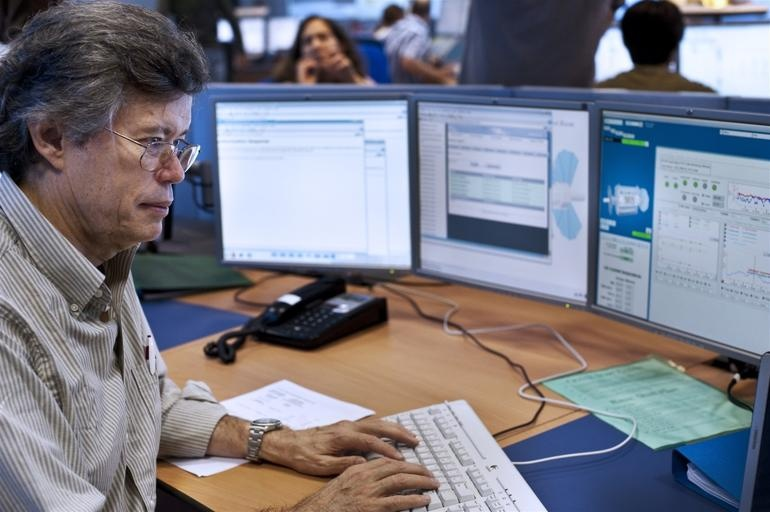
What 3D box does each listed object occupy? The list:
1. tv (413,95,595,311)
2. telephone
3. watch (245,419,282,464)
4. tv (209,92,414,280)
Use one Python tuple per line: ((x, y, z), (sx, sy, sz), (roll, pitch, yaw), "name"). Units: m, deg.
((0.306, -0.157, 1.665), (0.528, 0.492, 0.059), (7, 12, 36), "tv")
((-0.175, 0.156, 1.908), (0.271, 0.109, 0.332), (5, 14, 35), "telephone")
((-0.275, 0.404, 1.473), (0.056, 0.095, 0.094), (10, 8, 8), "watch")
((-0.191, -0.213, 1.858), (0.511, 0.400, 0.040), (4, 11, 19), "tv")
